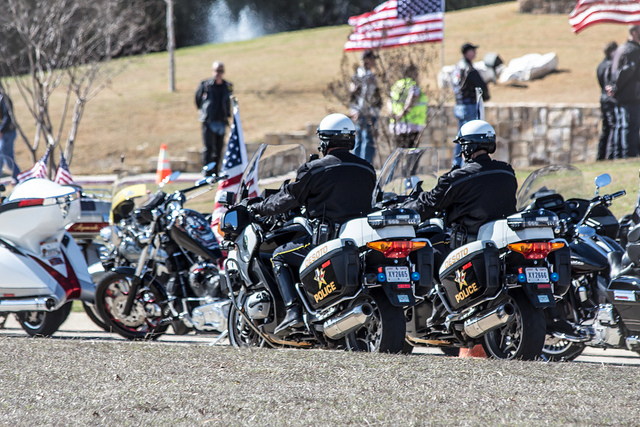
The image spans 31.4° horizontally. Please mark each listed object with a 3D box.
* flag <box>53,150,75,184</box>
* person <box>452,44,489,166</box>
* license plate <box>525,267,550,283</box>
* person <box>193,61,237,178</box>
[{"bbox_3d":[-4.176,-0.700,18.684,0.428,0.555,0.445,2,2,10],"label":"flag"},{"bbox_3d":[3.097,-2.296,23.458,0.812,2.311,0.736,-2,5,-25],"label":"person"},{"bbox_3d":[2.937,0.845,15.433,0.226,0.148,0.029,0,-17,-3],"label":"license plate"},{"bbox_3d":[-2.240,-2.066,24.665,0.786,2.312,1.445,-5,10,-5],"label":"person"}]
